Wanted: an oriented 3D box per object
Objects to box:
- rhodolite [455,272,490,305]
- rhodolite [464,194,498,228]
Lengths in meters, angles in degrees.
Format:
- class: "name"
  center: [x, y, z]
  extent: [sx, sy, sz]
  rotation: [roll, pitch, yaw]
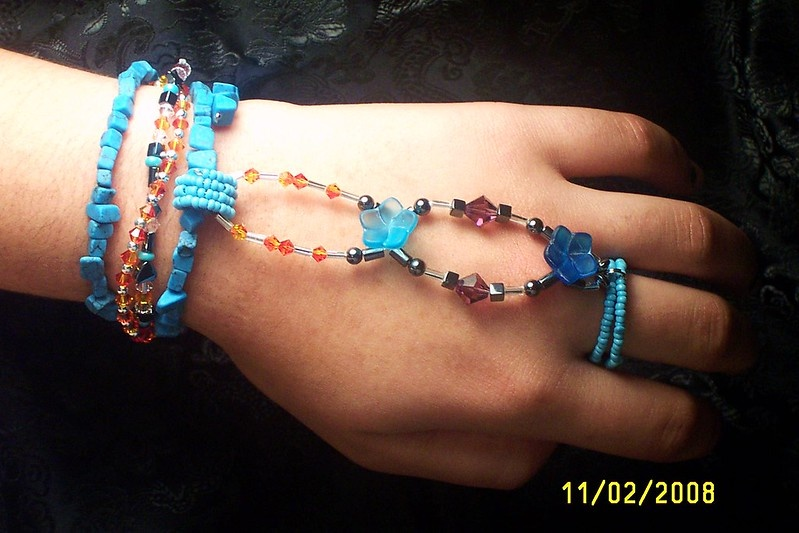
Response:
- class: "rhodolite"
  center: [0.201, 0.061, 1.922]
  extent: [0.087, 0.045, 0.076]
  rotation: [-19, 84, -1]
- class: "rhodolite"
  center: [0.234, -0.148, 1.921]
  extent: [0.087, 0.050, 0.079]
  rotation: [0, 96, -6]
